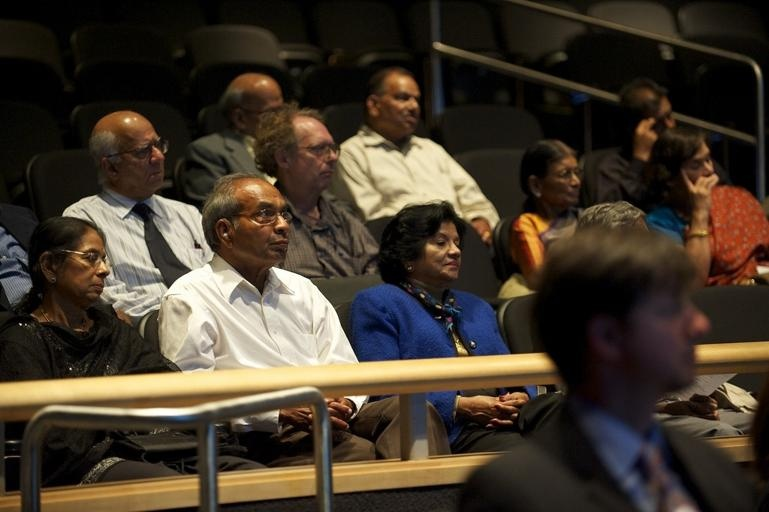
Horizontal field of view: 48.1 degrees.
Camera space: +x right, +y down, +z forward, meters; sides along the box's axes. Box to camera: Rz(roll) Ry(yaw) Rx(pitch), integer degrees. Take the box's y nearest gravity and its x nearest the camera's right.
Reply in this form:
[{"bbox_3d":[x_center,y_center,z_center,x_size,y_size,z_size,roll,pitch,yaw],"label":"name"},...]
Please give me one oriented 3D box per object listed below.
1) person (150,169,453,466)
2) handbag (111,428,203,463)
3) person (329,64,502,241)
[{"bbox_3d":[-0.201,0.265,3.297,1.066,1.199,0.767,-21,-13,35],"label":"person"},{"bbox_3d":[-0.690,0.565,2.576,0.204,0.070,0.200,3,-2,-11],"label":"handbag"},{"bbox_3d":[0.146,-0.513,4.759,0.810,0.974,0.936,-1,0,-40],"label":"person"}]
